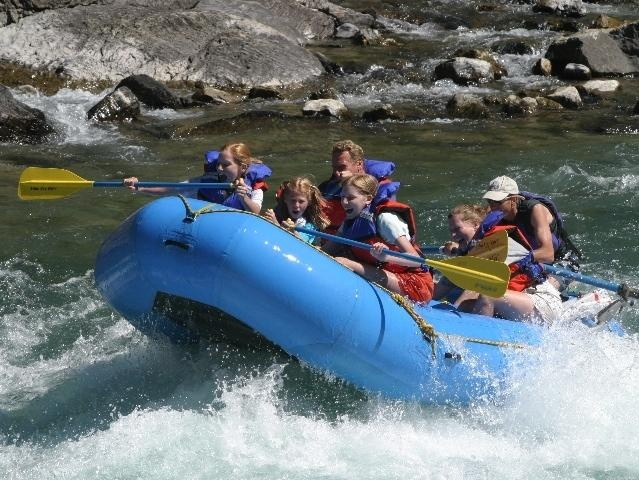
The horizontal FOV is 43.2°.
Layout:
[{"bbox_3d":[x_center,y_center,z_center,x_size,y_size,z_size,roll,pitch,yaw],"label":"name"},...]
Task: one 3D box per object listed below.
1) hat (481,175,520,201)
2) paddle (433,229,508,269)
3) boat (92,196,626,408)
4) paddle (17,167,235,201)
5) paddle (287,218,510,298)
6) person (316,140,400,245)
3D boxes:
[{"bbox_3d":[1.782,-0.508,7.936,0.393,0.169,0.240,-1,2,-31],"label":"hat"},{"bbox_3d":[1.381,0.129,7.189,0.861,0.251,0.116,-13,-1,-44],"label":"paddle"},{"bbox_3d":[-0.028,0.651,7.108,3.435,0.610,1.826,18,-17,-12],"label":"boat"},{"bbox_3d":[-1.772,-0.544,7.631,2.397,0.291,0.135,2,-7,14],"label":"paddle"},{"bbox_3d":[0.685,0.171,7.239,2.707,0.295,0.124,13,29,12],"label":"paddle"},{"bbox_3d":[0.274,-0.526,7.914,0.867,0.897,0.474,4,-11,32],"label":"person"}]
